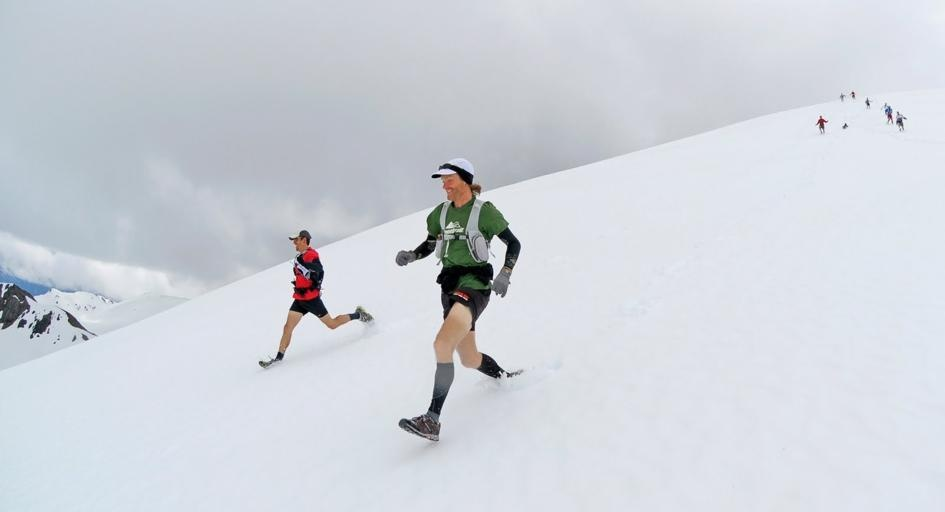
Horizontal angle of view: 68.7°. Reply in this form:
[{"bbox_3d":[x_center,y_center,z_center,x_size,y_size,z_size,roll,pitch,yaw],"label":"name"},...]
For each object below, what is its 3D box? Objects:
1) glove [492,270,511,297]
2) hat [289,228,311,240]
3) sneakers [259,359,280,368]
[{"bbox_3d":[0.597,0.576,14.317,0.371,0.539,0.648,-7,2,1],"label":"glove"},{"bbox_3d":[-3.121,-0.342,12.661,0.363,0.183,0.229,4,-6,-7],"label":"hat"},{"bbox_3d":[-5.106,2.704,17.283,0.228,0.102,0.397,1,4,32],"label":"sneakers"}]
